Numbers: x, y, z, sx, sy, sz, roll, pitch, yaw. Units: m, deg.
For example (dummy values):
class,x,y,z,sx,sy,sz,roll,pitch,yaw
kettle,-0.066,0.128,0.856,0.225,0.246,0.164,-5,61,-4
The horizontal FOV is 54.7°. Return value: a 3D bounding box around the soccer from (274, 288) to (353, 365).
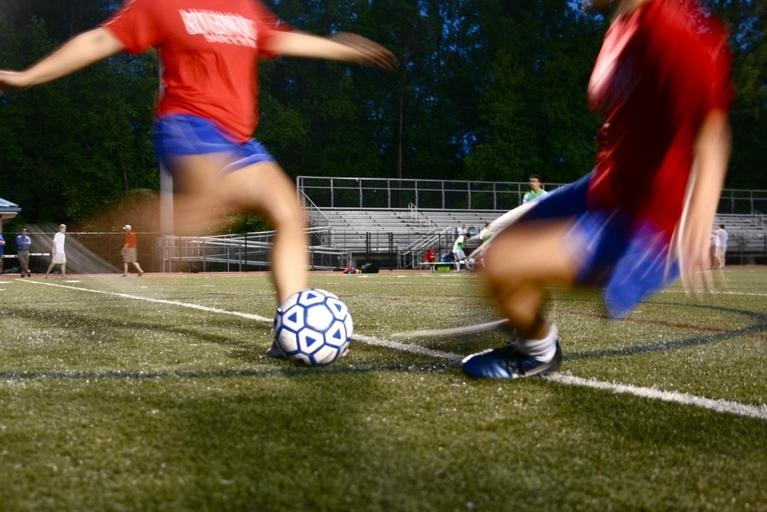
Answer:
class,x,y,z,sx,sy,sz,roll,pitch,yaw
soccer,-0.401,0.400,4.181,0.442,0.403,0.282,-2,13,-9
